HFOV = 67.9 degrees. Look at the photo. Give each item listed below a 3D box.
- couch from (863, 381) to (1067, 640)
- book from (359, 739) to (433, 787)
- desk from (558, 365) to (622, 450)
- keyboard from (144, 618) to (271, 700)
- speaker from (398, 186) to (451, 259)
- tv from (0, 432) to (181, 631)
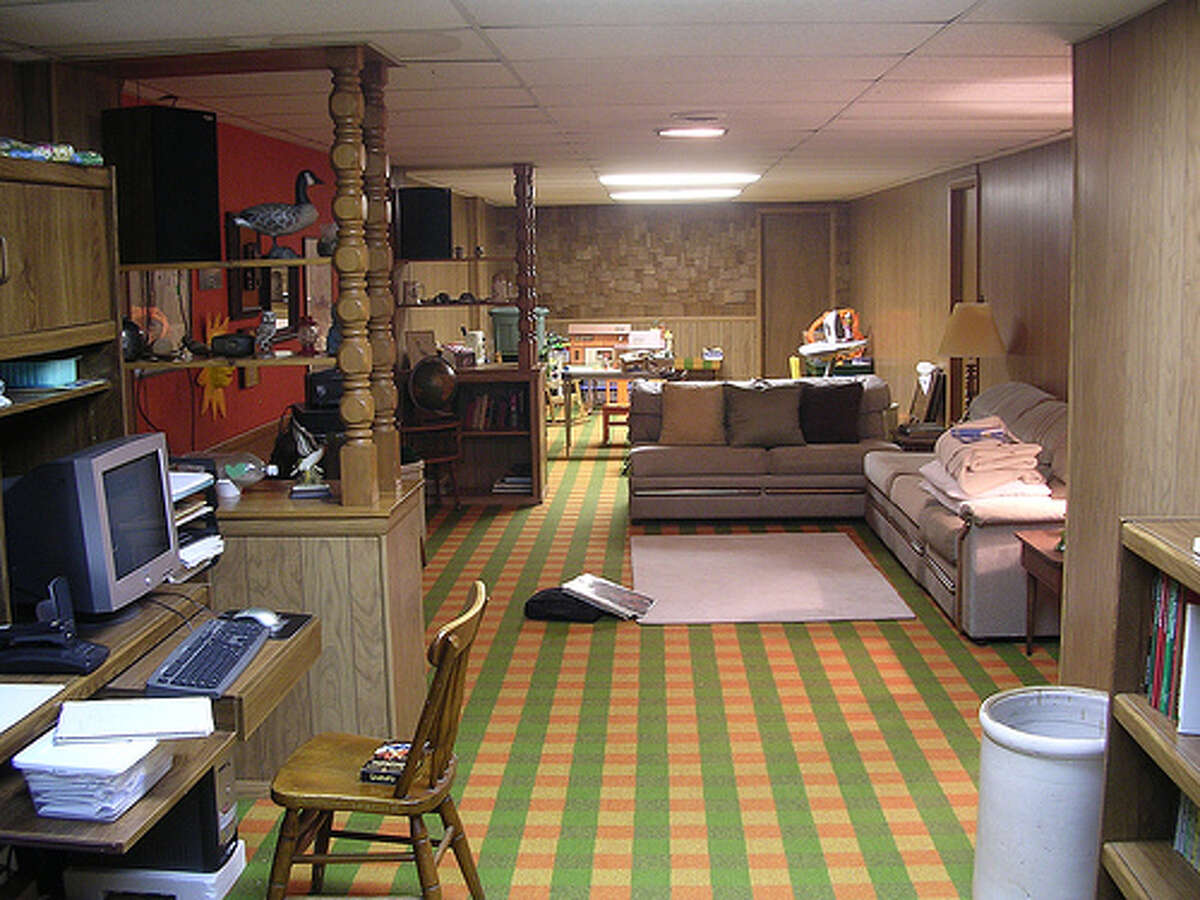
[{"bbox_3d":[2.288,0.414,5.547,0.652,0.655,1.607,0,11,7],"label":"couch"},{"bbox_3d":[-0.630,0.973,2.751,0.154,0.035,0.262,2,10,0],"label":"book"},{"bbox_3d":[-0.194,-0.690,10.723,0.955,1.107,1.229,1,15,7],"label":"desk"},{"bbox_3d":[-1.167,0.624,2.646,0.127,0.033,0.297,6,14,0],"label":"keyboard"},{"bbox_3d":[-1.531,-1.978,7.726,0.571,0.765,0.424,1,10,-5],"label":"speaker"},{"bbox_3d":[-1.543,0.196,2.988,0.517,0.634,0.697,2,9,8],"label":"tv"}]
